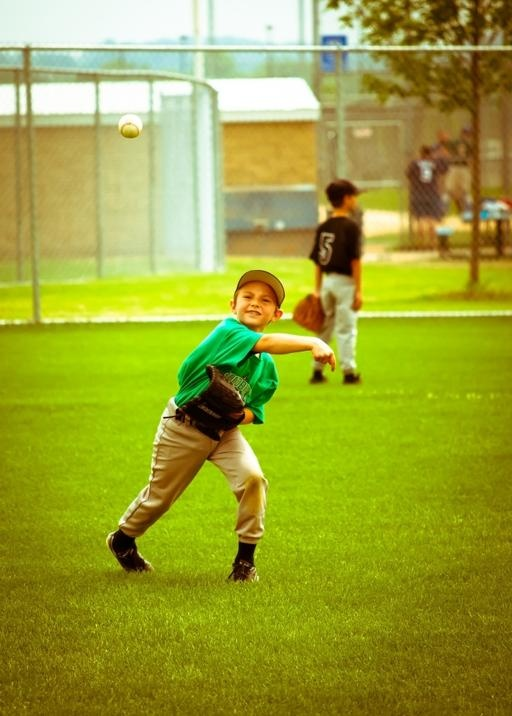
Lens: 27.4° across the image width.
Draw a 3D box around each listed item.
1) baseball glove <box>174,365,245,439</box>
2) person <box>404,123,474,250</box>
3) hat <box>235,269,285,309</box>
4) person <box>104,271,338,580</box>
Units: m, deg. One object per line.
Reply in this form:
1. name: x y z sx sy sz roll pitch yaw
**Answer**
1. baseball glove: -0.149 0.125 3.248 0.170 0.148 0.222 38 15 -26
2. person: 1.453 -1.365 8.504 0.364 0.931 0.733 -3 9 -24
3. hat: 0.015 -0.231 3.348 0.165 0.111 0.248 8 -11 -3
4. person: -0.073 0.211 3.330 0.784 0.975 0.418 5 9 27
